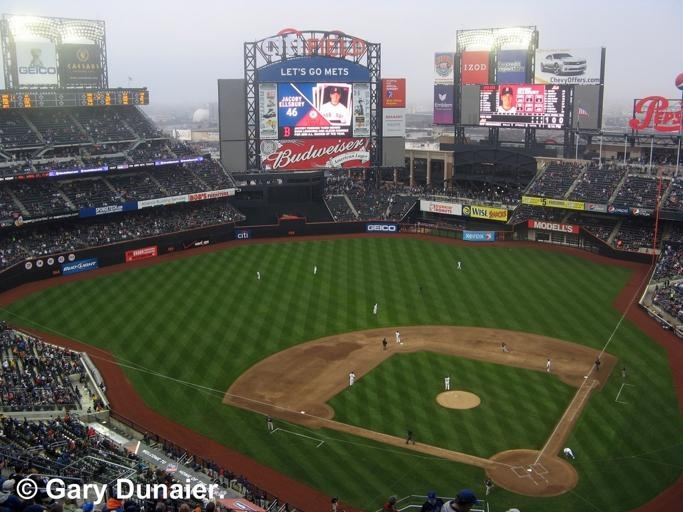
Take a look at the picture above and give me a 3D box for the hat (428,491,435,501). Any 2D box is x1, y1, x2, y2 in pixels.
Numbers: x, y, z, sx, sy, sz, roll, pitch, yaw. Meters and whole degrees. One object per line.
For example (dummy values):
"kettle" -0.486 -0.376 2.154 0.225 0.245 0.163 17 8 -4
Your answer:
"hat" 2.101 5.614 14.256 0.158 0.164 0.202 5 10 27

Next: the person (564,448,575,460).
"person" 10.939 9.399 29.011 0.456 0.337 0.790 22 0 42
